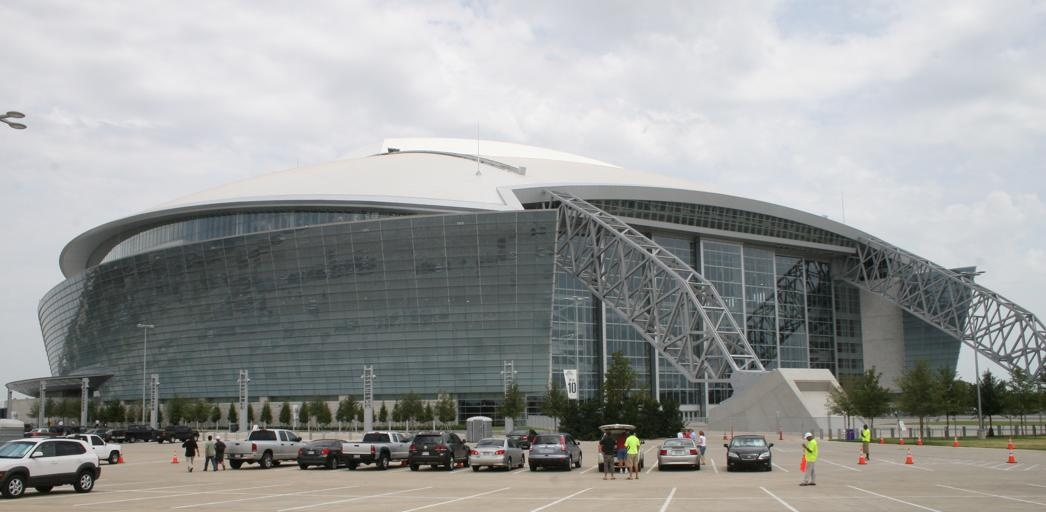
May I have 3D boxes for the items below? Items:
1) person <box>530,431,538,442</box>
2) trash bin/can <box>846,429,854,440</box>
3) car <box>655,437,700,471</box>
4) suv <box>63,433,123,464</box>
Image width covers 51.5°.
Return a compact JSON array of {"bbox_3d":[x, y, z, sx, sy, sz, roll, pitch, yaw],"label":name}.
[{"bbox_3d":[1.341,21.083,125.791,1.405,0.907,2.021,1,-3,5],"label":"person"},{"bbox_3d":[41.835,23.200,139.437,1.565,1.117,0.704,2,8,7],"label":"trash bin/can"},{"bbox_3d":[16.518,21.372,115.535,4.146,1.983,7.729,0,-3,8],"label":"car"},{"bbox_3d":[-47.549,21.939,121.630,8.196,2.754,3.774,0,-3,-19],"label":"suv"}]
